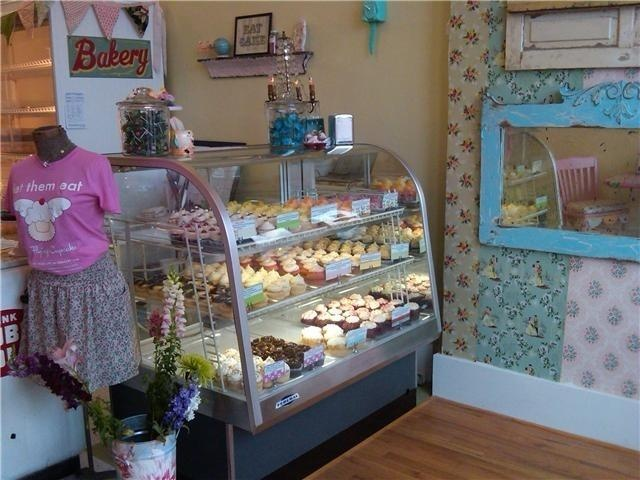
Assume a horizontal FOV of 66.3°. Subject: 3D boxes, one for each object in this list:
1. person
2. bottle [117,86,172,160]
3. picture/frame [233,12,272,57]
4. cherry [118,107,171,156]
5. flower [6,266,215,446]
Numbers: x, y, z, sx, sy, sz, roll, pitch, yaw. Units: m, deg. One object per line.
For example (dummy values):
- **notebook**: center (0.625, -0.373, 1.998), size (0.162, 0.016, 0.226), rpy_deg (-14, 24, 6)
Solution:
- **person**: center (-1.182, 0.078, 2.500), size (0.573, 1.354, 0.510), rpy_deg (-9, 20, -41)
- **bottle**: center (-0.878, -0.628, 2.718), size (0.344, 0.431, 0.347), rpy_deg (0, 3, 0)
- **picture/frame**: center (-0.602, -1.809, 4.355), size (0.488, 0.370, 0.141), rpy_deg (10, 16, 39)
- **cherry**: center (-0.889, -0.548, 2.606), size (0.255, 0.256, 0.252), rpy_deg (-1, 3, -3)
- **flower**: center (-0.904, 0.590, 2.252), size (0.815, 0.879, 0.467), rpy_deg (-4, 13, -14)
